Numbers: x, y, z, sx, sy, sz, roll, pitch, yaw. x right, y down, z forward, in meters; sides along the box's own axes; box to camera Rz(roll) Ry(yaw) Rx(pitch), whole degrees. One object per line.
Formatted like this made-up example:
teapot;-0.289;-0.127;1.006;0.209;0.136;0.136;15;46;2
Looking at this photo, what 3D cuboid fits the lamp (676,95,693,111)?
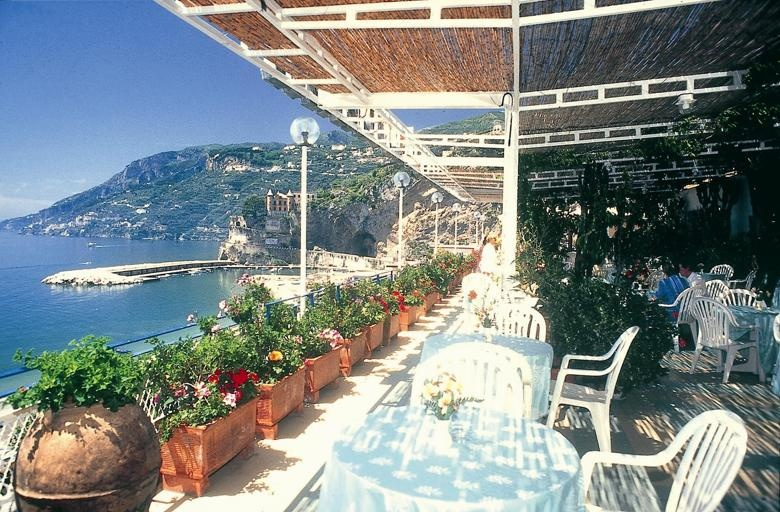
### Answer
lamp;4.205;-2.193;6.955;0.212;0.202;0.213;-4;8;-6
